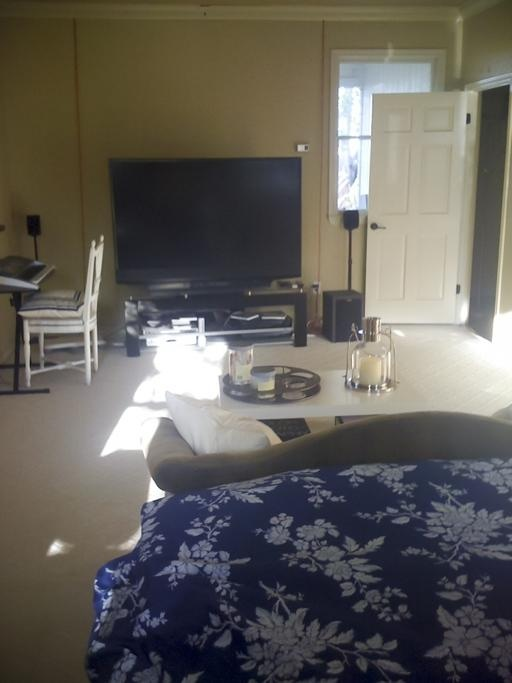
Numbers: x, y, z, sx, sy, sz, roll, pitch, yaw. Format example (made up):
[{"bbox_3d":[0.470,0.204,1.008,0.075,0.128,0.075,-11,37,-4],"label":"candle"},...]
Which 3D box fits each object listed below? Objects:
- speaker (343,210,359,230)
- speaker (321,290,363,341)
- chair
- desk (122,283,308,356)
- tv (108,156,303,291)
[{"bbox_3d":[0.900,-1.147,5.034,0.166,0.198,0.204,-2,10,10],"label":"speaker"},{"bbox_3d":[0.779,-0.247,4.898,0.326,0.449,0.402,-4,10,-3],"label":"speaker"},{"bbox_3d":[-1.523,-0.264,4.109,0.642,1.341,0.783,3,18,-4],"label":"chair"},{"bbox_3d":[-0.316,0.032,4.619,1.538,0.524,0.644,-3,49,-4],"label":"desk"},{"bbox_3d":[-0.411,-0.968,4.618,1.631,1.357,0.178,-2,-20,-6],"label":"tv"}]
